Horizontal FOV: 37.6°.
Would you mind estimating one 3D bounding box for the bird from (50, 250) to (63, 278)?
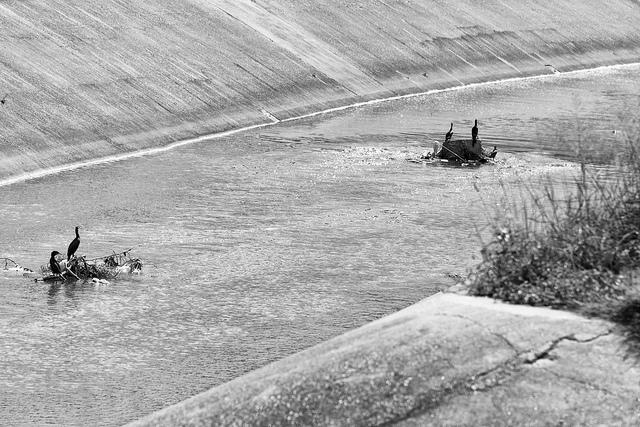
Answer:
[{"bbox_3d":[-6.747,1.267,23.796,0.334,0.681,0.626,-13,10,-16],"label":"bird"}]

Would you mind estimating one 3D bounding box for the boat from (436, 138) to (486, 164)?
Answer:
[{"bbox_3d":[5.394,-2.396,35.881,1.624,0.480,1.025,-1,12,4],"label":"boat"}]

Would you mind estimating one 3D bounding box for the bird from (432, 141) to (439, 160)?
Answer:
[{"bbox_3d":[4.428,-2.425,35.884,0.333,0.609,0.706,-8,8,6],"label":"bird"}]
